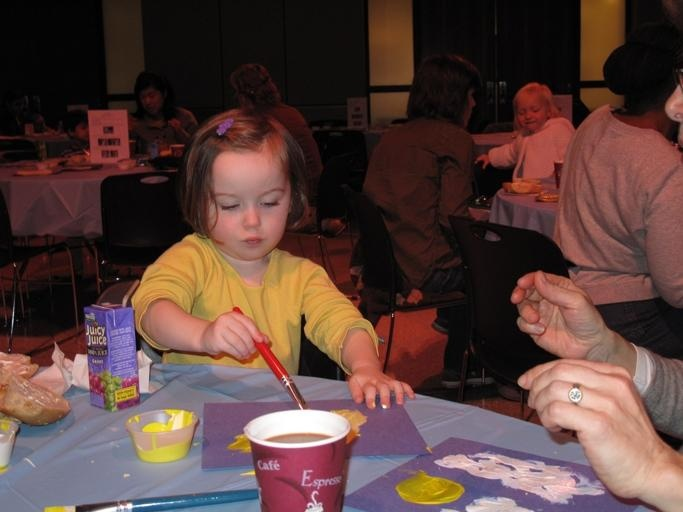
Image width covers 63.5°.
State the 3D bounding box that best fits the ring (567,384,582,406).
[{"bbox_3d":[0.307,0.183,0.720,0.016,0.022,0.006,2,-5,-2],"label":"ring"}]

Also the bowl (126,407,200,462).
[{"bbox_3d":[-0.300,0.296,0.933,0.109,0.052,0.120,-13,17,-41],"label":"bowl"}]

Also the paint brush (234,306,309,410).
[{"bbox_3d":[-0.121,0.220,1.053,0.028,0.027,0.285,-20,24,-19],"label":"paint brush"}]

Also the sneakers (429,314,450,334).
[{"bbox_3d":[0.595,0.415,3.386,0.087,0.094,0.117,17,12,-34],"label":"sneakers"}]
